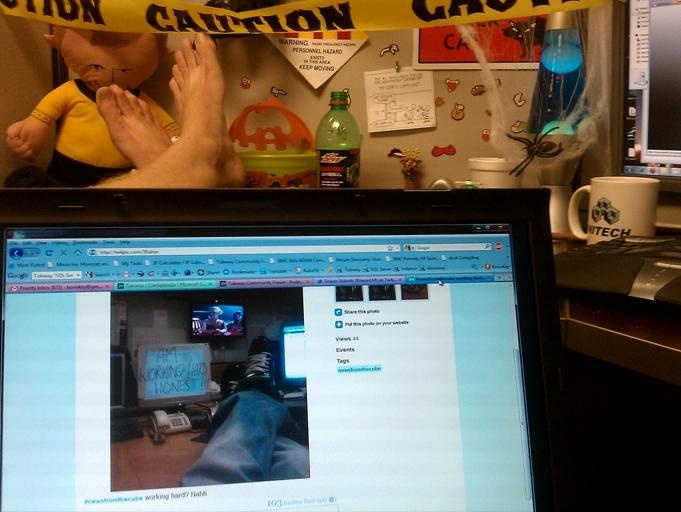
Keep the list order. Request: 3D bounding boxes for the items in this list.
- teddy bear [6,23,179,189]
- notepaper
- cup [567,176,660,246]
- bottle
[{"bbox_3d":[-0.456,-0.268,1.042,0.235,0.284,0.257,-14,42,-39],"label":"teddy bear"},{"bbox_3d":[0.110,-0.286,1.037,0.125,0.109,0.034,-5,23,-6],"label":"notepaper"},{"bbox_3d":[0.393,-0.059,0.829,0.092,0.113,0.140,-5,7,-30],"label":"cup"},{"bbox_3d":[-0.005,-0.201,0.967,0.082,0.146,0.199,-2,22,2],"label":"bottle"}]
